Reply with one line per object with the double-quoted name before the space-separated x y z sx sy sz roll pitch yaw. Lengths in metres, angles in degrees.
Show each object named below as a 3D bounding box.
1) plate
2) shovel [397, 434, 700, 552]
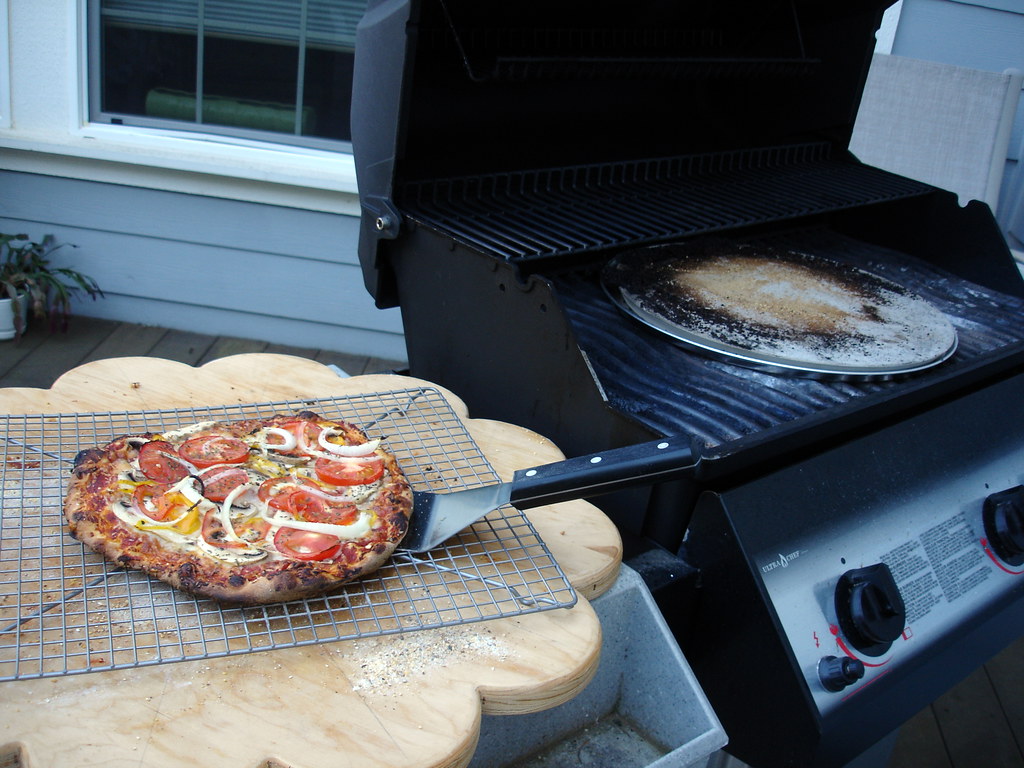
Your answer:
"plate" 0.553 -0.176 1.744 0.682 0.084 0.605 17 27 24
"shovel" 0.054 0.159 1.264 0.486 0.066 0.153 -17 28 16
